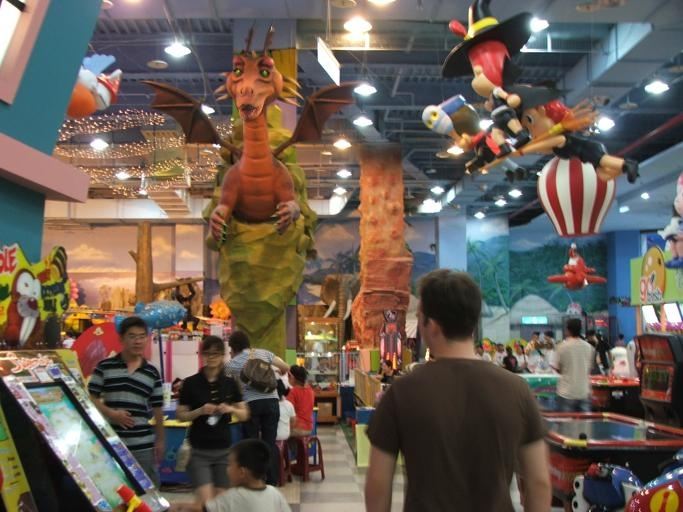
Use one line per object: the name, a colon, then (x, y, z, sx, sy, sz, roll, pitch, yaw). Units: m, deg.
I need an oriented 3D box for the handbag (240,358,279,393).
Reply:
handbag: (-0.712, 1.018, 4.969, 0.330, 0.331, 0.181, 19, -18, -24)

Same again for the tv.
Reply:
tv: (-1.464, 1.042, 3.145, 0.502, 0.649, 0.305, -4, -9, 11)

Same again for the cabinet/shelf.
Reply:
cabinet/shelf: (-0.350, 2.300, 11.150, 0.606, 1.507, 1.586, 0, -15, 2)

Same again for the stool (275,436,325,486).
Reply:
stool: (-0.485, 2.310, 6.417, 0.586, 0.565, 0.584, 6, -17, -27)
